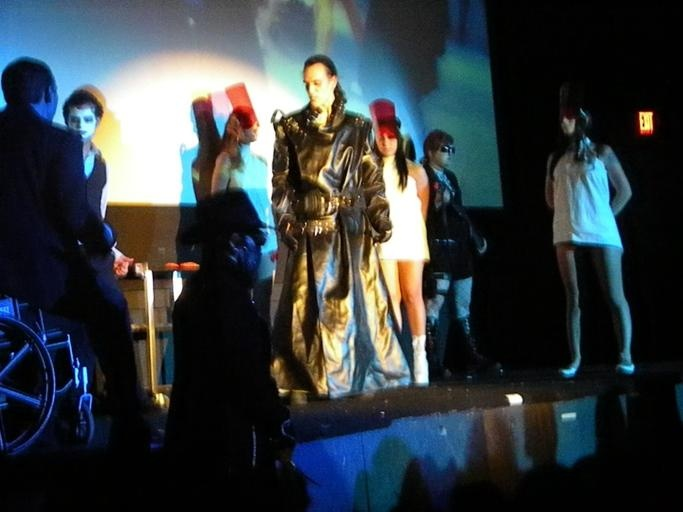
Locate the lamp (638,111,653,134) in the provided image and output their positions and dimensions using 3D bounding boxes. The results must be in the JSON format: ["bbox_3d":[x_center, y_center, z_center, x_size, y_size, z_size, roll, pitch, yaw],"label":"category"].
[{"bbox_3d":[2.797,-1.229,5.629,0.150,0.212,0.044,-2,6,-15],"label":"lamp"}]

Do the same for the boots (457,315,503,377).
[{"bbox_3d":[1.135,0.763,5.084,0.353,0.551,0.168,-8,-40,16],"label":"boots"}]

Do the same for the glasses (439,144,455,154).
[{"bbox_3d":[0.819,-0.845,4.807,0.081,0.093,0.029,2,5,-9],"label":"glasses"}]

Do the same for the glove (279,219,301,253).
[{"bbox_3d":[-0.336,-0.130,4.039,0.061,0.202,0.139,-8,10,43],"label":"glove"}]

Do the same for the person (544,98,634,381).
[{"bbox_3d":[1.843,-0.189,4.520,0.608,2.126,0.718,1,6,13],"label":"person"}]

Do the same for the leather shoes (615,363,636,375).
[{"bbox_3d":[2.032,0.802,4.362,0.051,0.069,0.154,-2,-21,10],"label":"leather shoes"}]
